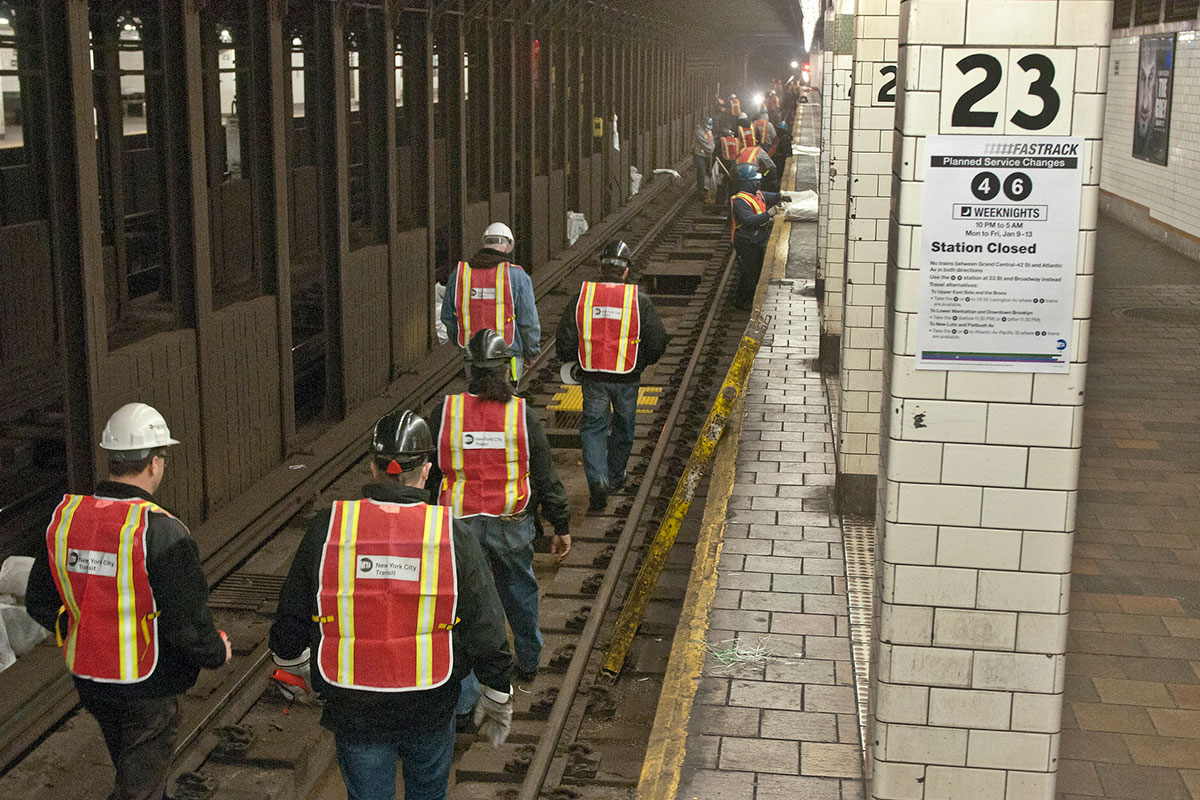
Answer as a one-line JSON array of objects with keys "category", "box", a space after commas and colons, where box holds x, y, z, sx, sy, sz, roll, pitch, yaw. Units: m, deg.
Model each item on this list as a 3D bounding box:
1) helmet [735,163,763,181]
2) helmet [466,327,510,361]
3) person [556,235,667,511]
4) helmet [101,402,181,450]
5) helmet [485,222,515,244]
[{"category": "helmet", "box": [2.320, -3.586, 17.891, 0.325, 0.254, 0.472, 1, 18, 4]}, {"category": "helmet", "box": [-0.751, -0.385, 7.681, 0.216, 0.176, 0.299, 0, 5, 4]}, {"category": "person", "box": [0.096, -0.190, 10.551, 0.949, 2.436, 0.497, -1, 17, -2]}, {"category": "helmet", "box": [-2.464, 0.123, 6.050, 0.322, 0.228, 0.422, 11, 12, 24]}, {"category": "helmet", "box": [-0.937, -1.516, 10.433, 0.220, 0.210, 0.333, 0, 18, 3]}]
